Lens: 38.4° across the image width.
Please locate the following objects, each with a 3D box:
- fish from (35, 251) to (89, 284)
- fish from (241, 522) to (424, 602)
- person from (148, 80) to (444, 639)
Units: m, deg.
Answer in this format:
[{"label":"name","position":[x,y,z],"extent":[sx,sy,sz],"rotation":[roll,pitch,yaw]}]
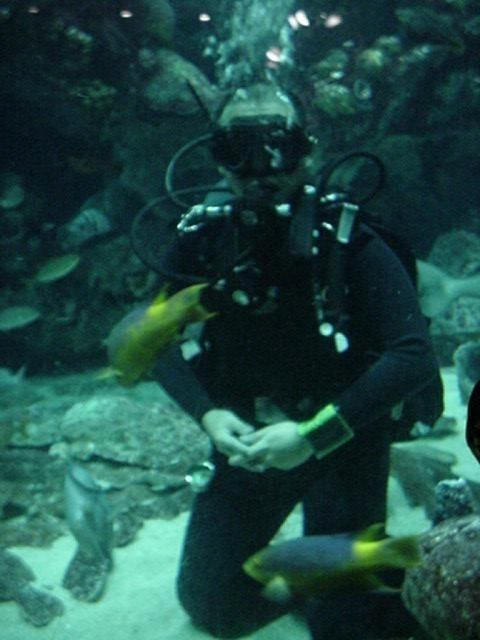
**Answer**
[{"label":"fish","position":[-0.415,-0.115,1.563],"extent":[0.105,0.066,0.023],"rotation":[-2,15,8]},{"label":"fish","position":[0.200,0.562,1.574],"extent":[0.443,0.142,0.097],"rotation":[-18,-39,25]},{"label":"person","position":[0.118,0.107,1.543],"extent":[0.635,1.222,0.224],"rotation":[-6,15,-7]}]
